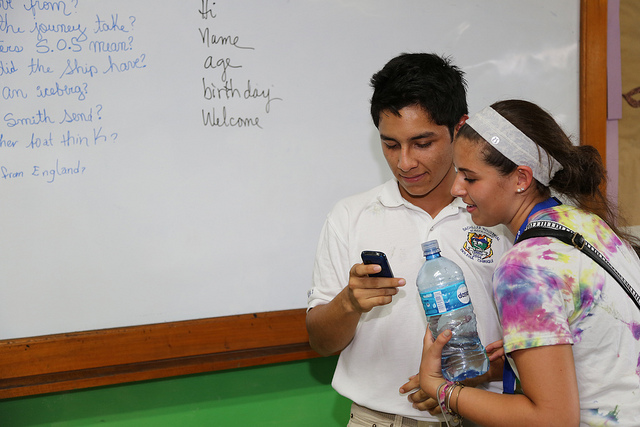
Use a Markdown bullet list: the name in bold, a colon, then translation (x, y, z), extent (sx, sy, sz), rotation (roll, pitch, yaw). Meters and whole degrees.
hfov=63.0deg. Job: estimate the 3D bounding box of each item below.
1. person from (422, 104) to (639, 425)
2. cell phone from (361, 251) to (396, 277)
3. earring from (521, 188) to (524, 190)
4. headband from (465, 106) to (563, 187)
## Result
- **person**: translation (0.616, 0.143, 1.563), extent (0.660, 0.962, 0.264), rotation (-7, -8, 9)
- **cell phone**: translation (0.174, 0.171, 1.685), extent (0.079, 0.014, 0.140), rotation (4, 30, -9)
- **earring**: translation (0.608, -0.074, 1.565), extent (0.007, 0.005, 0.001), rotation (-7, -8, 8)
- **headband**: translation (0.572, -0.224, 1.643), extent (0.207, 0.222, 0.270), rotation (-3, 18, -9)
